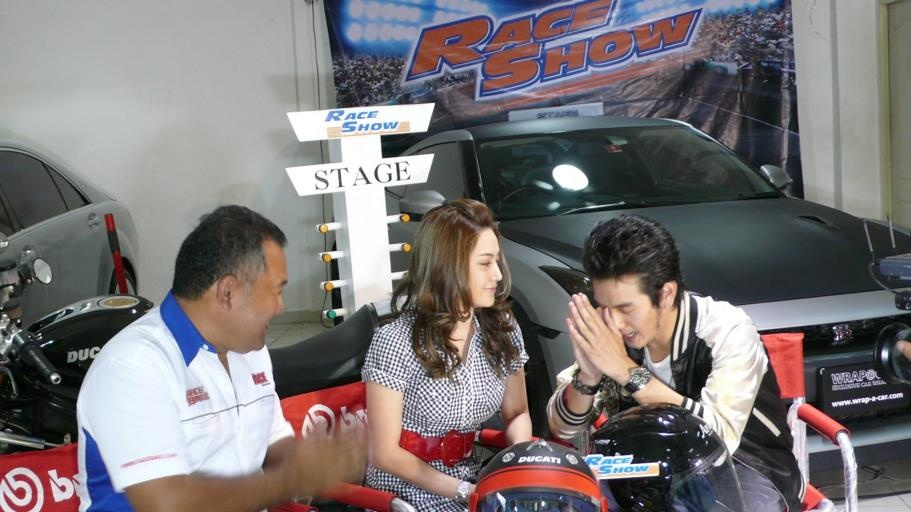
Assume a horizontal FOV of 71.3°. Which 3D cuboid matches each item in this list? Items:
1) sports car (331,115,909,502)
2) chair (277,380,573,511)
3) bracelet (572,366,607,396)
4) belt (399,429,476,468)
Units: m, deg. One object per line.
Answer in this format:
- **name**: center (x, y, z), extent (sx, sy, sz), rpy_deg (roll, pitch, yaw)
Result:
- **sports car**: center (1.117, -0.071, 4.770), extent (1.941, 1.047, 3.337), rpy_deg (-4, 7, -32)
- **chair**: center (-0.414, 0.831, 3.373), extent (0.773, 0.710, 0.724), rpy_deg (4, -7, -42)
- **bracelet**: center (0.645, 0.618, 3.171), extent (0.134, 0.071, 0.150), rpy_deg (1, 4, -4)
- **belt**: center (-0.075, 0.944, 3.141), extent (0.263, 0.113, 0.207), rpy_deg (0, -4, -8)
